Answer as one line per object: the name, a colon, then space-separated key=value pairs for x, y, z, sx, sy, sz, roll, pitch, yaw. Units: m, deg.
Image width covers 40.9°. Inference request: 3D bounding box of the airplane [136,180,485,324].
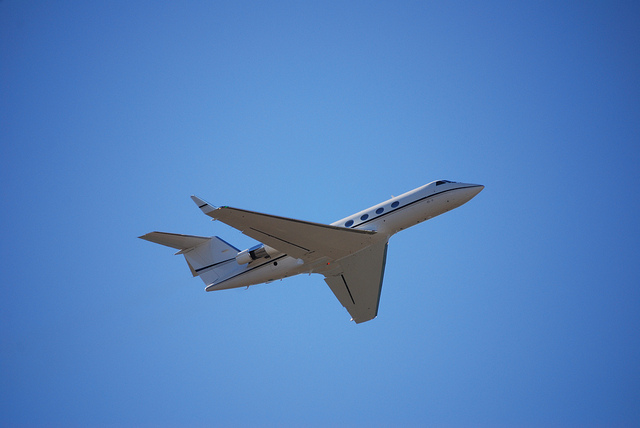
airplane: x=-0.088 y=1.318 z=35.810 sx=9.163 sy=8.182 sz=2.686 roll=-20 pitch=62 yaw=-4
